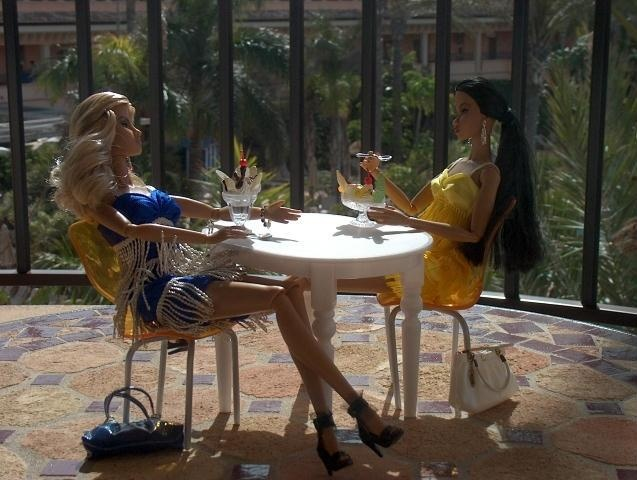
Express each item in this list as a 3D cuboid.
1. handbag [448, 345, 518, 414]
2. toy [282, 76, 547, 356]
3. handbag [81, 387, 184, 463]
[{"bbox_3d":[0.929,0.758,3.696,0.380,0.373,0.193,-7,-2,-25],"label":"handbag"},{"bbox_3d":[0.585,-0.302,3.924,1.462,1.398,0.750,6,3,0],"label":"toy"},{"bbox_3d":[-0.963,0.970,3.433,0.311,0.249,0.131,-3,2,-11],"label":"handbag"}]
